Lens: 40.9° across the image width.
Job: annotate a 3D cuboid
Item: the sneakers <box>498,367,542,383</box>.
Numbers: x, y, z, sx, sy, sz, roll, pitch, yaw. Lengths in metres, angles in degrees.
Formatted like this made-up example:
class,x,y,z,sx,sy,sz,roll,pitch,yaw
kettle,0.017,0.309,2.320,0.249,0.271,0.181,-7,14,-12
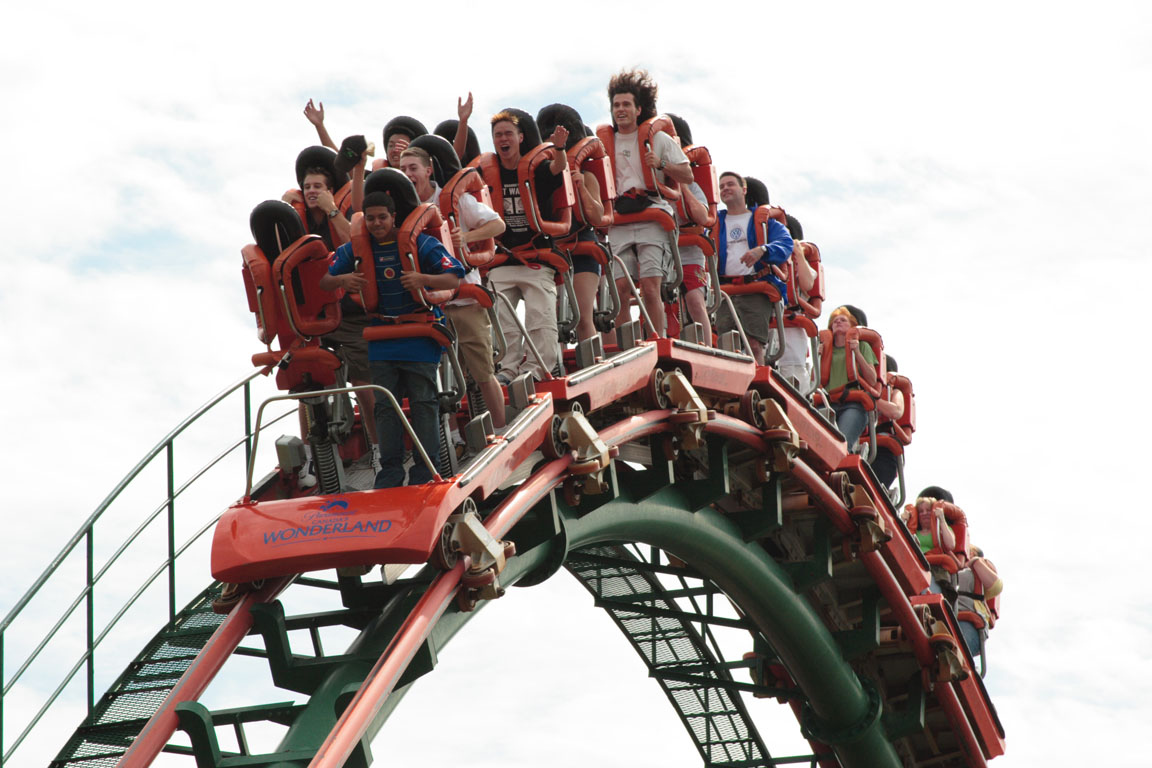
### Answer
class,x,y,z,sx,sy,sz,roll,pitch,yaw
sneakers,-0.724,-0.106,18.564,0.612,0.216,0.187,0,-23,-4
